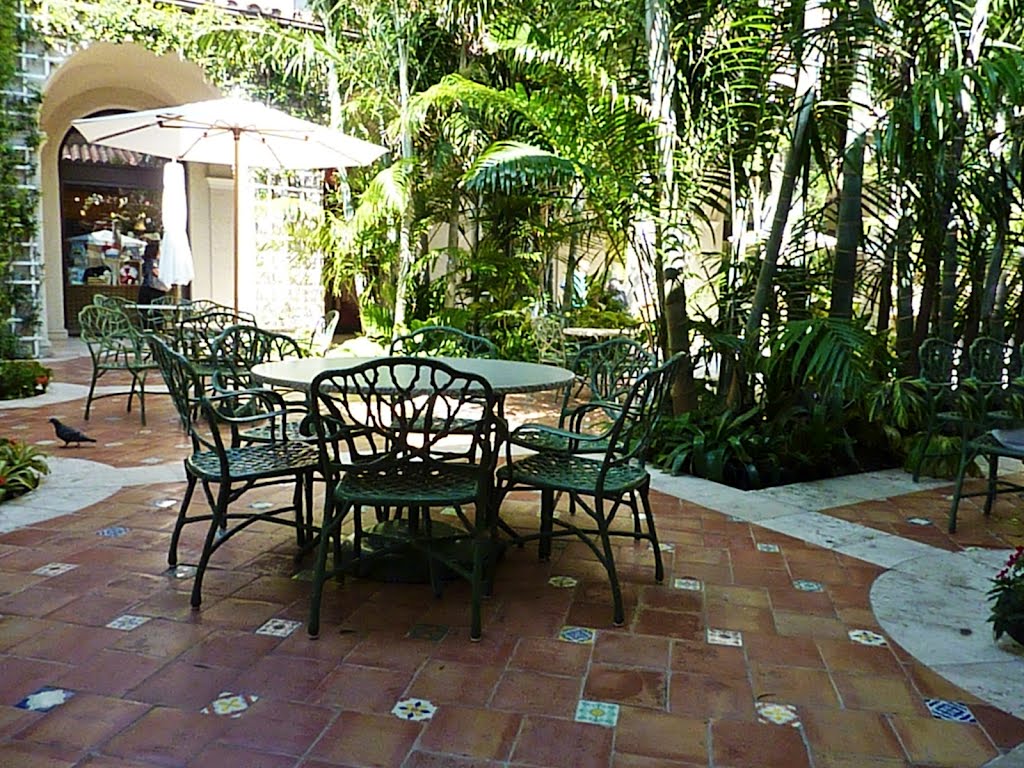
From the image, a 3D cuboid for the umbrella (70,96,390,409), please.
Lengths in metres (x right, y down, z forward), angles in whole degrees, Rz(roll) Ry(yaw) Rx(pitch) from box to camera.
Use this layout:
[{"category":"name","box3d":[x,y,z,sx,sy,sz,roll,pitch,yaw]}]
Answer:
[{"category":"umbrella","box3d":[-2.249,-1.282,7.035,2.652,1.985,2.541,6,9,8]}]
